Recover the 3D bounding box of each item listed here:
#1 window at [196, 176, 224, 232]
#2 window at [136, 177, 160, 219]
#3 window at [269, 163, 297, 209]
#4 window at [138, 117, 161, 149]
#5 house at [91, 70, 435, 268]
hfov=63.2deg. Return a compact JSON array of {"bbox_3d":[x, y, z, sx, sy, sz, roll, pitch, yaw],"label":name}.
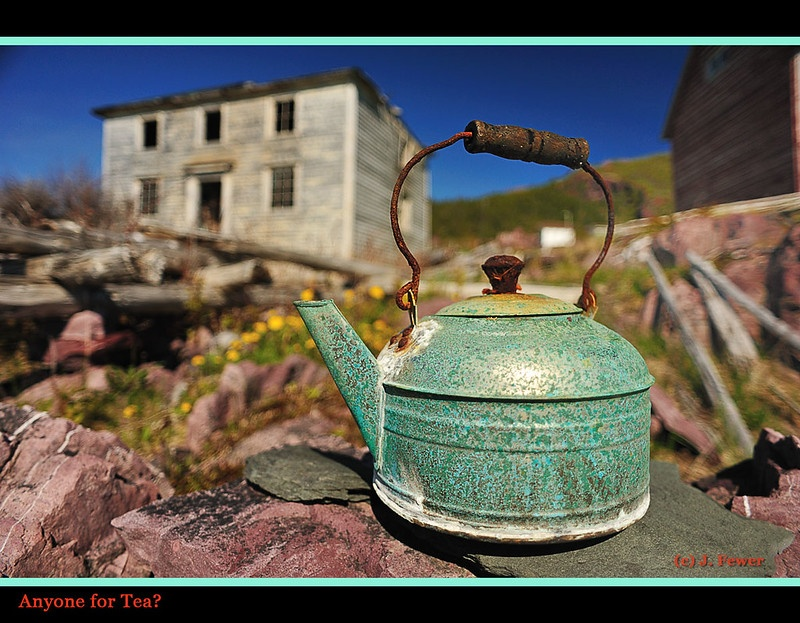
[{"bbox_3d":[-1.078,-0.601,3.648,0.066,0.291,0.165,7,14,39],"label":"window"},{"bbox_3d":[-1.342,-0.608,3.451,0.114,0.198,0.078,-6,12,-20],"label":"window"},{"bbox_3d":[-0.734,-0.767,4.095,0.019,0.227,0.251,-6,14,-41],"label":"window"},{"bbox_3d":[-1.350,-0.956,3.496,0.042,0.140,0.161,0,3,38],"label":"window"},{"bbox_3d":[-0.764,-1.056,4.636,1.513,0.769,2.567,-1,-4,27],"label":"house"}]
